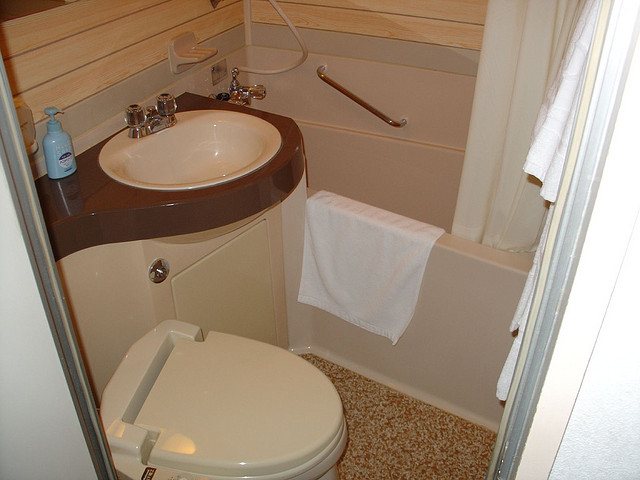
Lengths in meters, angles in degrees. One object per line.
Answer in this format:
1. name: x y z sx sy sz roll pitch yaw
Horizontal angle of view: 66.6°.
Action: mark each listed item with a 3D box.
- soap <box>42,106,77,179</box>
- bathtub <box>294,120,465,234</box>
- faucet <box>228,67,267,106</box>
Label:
1. soap: -0.674 -0.252 1.249 0.048 0.177 0.074 22 38 16
2. bathtub: 0.314 -0.292 2.386 0.806 0.539 0.690 13 34 10
3. faucet: -0.297 -0.577 1.892 0.126 0.130 0.201 -13 41 -18
